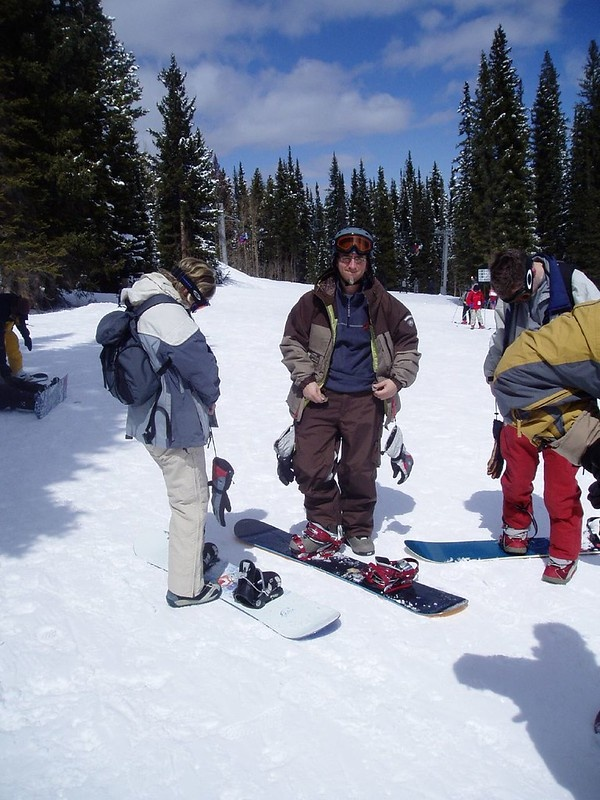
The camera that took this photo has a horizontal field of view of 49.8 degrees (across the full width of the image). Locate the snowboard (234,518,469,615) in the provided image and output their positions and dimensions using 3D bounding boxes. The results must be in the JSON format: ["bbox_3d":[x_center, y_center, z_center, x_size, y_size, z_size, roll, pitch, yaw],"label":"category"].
[{"bbox_3d":[0.289,1.021,3.874,1.419,0.070,0.206,10,28,41],"label":"snowboard"}]
